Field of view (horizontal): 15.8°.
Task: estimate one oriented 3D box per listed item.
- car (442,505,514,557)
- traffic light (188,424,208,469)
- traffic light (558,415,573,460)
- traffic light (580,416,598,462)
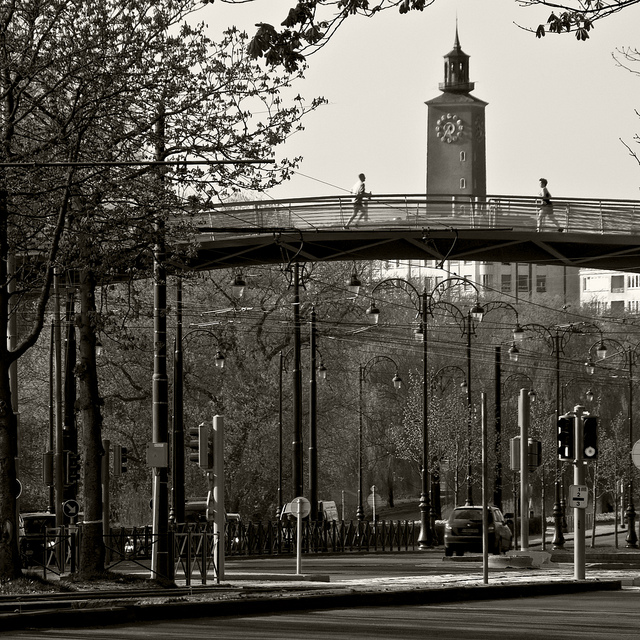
[{"bbox_3d":[4.043,5.577,59.772,1.099,1.207,2.580,-1,-1,14],"label":"car"},{"bbox_3d":[-2.575,2.600,47.839,0.353,1.030,1.106,0,-12,-3],"label":"traffic light"},{"bbox_3d":[5.214,2.537,49.069,0.317,0.899,0.313,2,-11,-12],"label":"traffic light"},{"bbox_3d":[5.743,2.525,49.613,0.324,1.027,0.693,-3,-11,13],"label":"traffic light"}]
